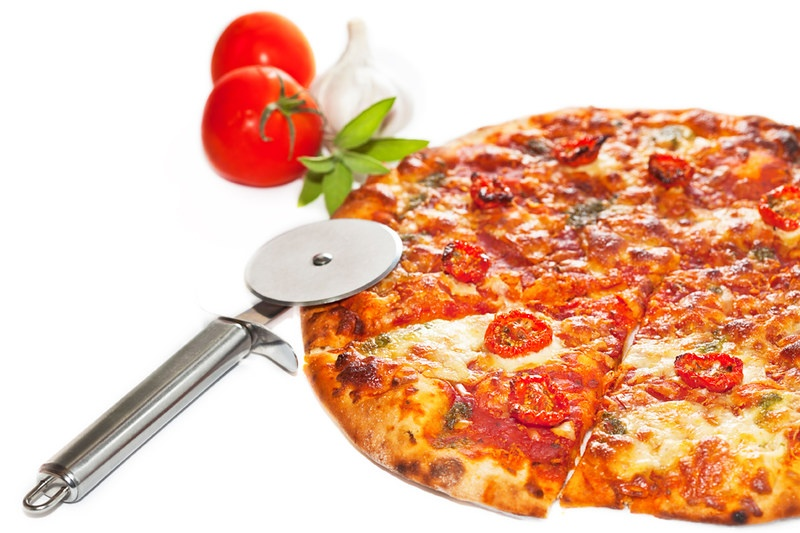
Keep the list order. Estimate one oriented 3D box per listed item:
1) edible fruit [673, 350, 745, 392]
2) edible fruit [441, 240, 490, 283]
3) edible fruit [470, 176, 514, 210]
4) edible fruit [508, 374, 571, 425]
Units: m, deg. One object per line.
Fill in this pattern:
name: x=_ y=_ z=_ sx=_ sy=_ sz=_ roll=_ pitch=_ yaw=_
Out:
edible fruit: x=1.567 y=0.508 z=4.054 sx=0.231 sy=0.090 sz=0.225 roll=0 pitch=19 yaw=-1
edible fruit: x=0.374 y=-0.032 z=4.569 sx=0.235 sy=0.227 sz=0.083 roll=24 pitch=-44 yaw=-4
edible fruit: x=0.551 y=-0.489 z=4.957 sx=0.220 sy=0.085 sz=0.209 roll=-18 pitch=42 yaw=-39
edible fruit: x=0.691 y=0.663 z=4.004 sx=0.308 sy=0.263 sz=0.114 roll=10 pitch=-16 yaw=10
